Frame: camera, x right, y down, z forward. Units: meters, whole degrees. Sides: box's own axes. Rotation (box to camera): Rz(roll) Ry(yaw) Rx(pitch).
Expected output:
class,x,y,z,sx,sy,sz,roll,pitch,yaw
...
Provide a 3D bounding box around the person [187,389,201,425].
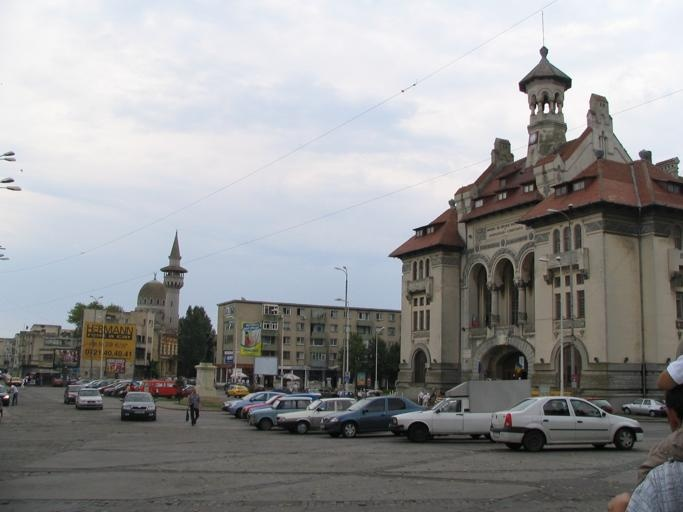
class,x,y,z,sx,sy,sz,roll,pitch,yaw
person,-7.938,7.992,42.257,0.476,1.978,1.557,3,-13,-14
